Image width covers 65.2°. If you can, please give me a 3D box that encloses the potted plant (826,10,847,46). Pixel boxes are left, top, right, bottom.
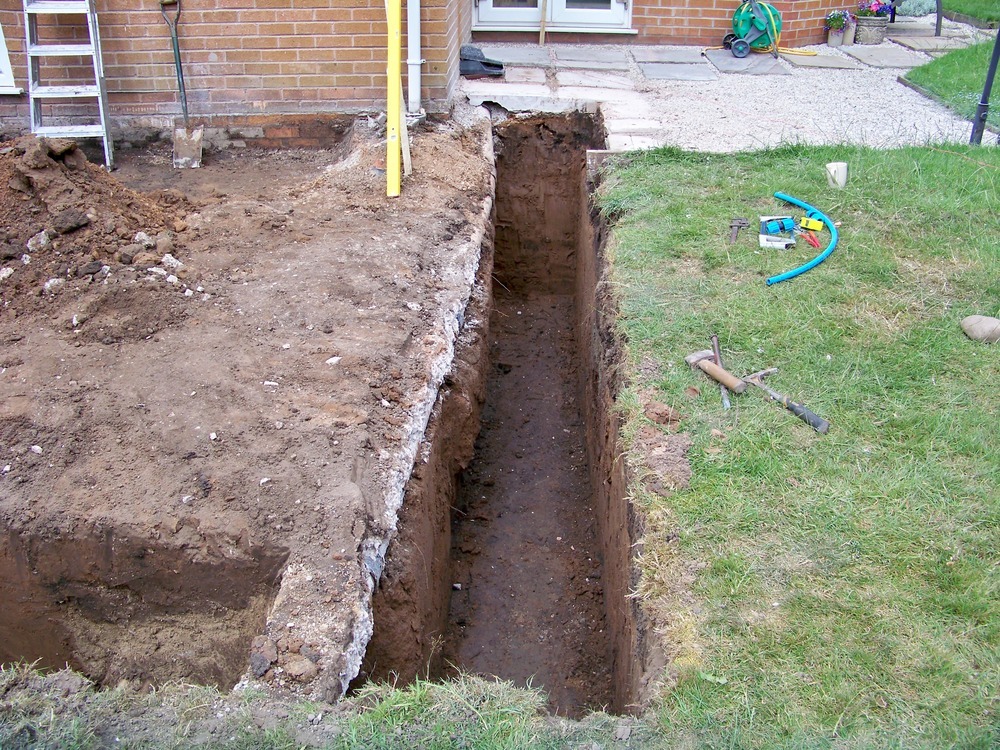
[{"bbox_3d":[4.842,-5.005,11.262,0.266,0.439,0.306,5,55,17],"label":"potted plant"}]

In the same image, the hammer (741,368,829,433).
[{"bbox_3d":[1.816,0.189,4.945,0.275,0.084,0.478,-21,43,-27],"label":"hammer"}]

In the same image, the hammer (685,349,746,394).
[{"bbox_3d":[1.411,-0.018,5.152,0.170,0.109,0.449,-10,38,-24],"label":"hammer"}]
